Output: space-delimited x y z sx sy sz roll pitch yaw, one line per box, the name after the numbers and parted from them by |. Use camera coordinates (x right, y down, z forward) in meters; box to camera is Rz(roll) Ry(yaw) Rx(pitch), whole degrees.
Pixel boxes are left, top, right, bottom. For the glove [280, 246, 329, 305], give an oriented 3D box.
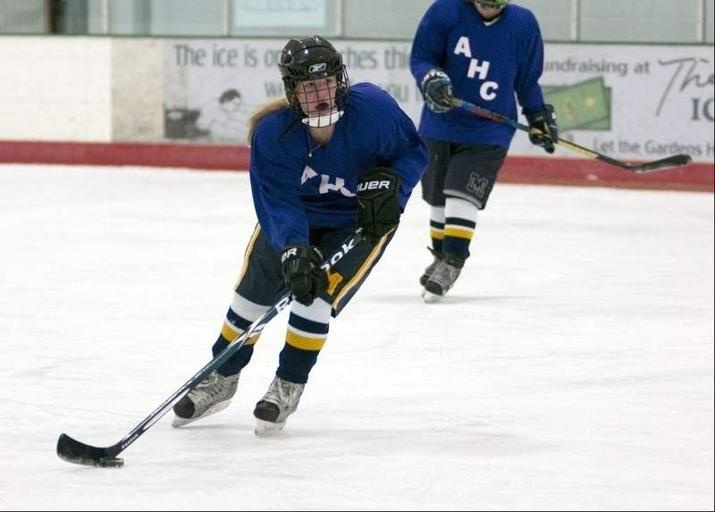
-0.207 0.076 4.467 0.180 0.228 0.101 4 -4 -4 | glove

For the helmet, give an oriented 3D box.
-0.178 -0.693 4.551 0.278 0.356 0.170 1 14 6 | helmet

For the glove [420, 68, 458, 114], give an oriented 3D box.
0.401 -0.823 5.693 0.166 0.204 0.074 -7 -7 14 | glove

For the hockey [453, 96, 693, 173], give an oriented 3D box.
1.339 -0.634 6.484 0.113 0.134 1.274 13 9 -41 | hockey

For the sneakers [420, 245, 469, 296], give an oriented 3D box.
0.453 0.085 5.980 0.120 0.146 0.350 29 26 5 | sneakers
